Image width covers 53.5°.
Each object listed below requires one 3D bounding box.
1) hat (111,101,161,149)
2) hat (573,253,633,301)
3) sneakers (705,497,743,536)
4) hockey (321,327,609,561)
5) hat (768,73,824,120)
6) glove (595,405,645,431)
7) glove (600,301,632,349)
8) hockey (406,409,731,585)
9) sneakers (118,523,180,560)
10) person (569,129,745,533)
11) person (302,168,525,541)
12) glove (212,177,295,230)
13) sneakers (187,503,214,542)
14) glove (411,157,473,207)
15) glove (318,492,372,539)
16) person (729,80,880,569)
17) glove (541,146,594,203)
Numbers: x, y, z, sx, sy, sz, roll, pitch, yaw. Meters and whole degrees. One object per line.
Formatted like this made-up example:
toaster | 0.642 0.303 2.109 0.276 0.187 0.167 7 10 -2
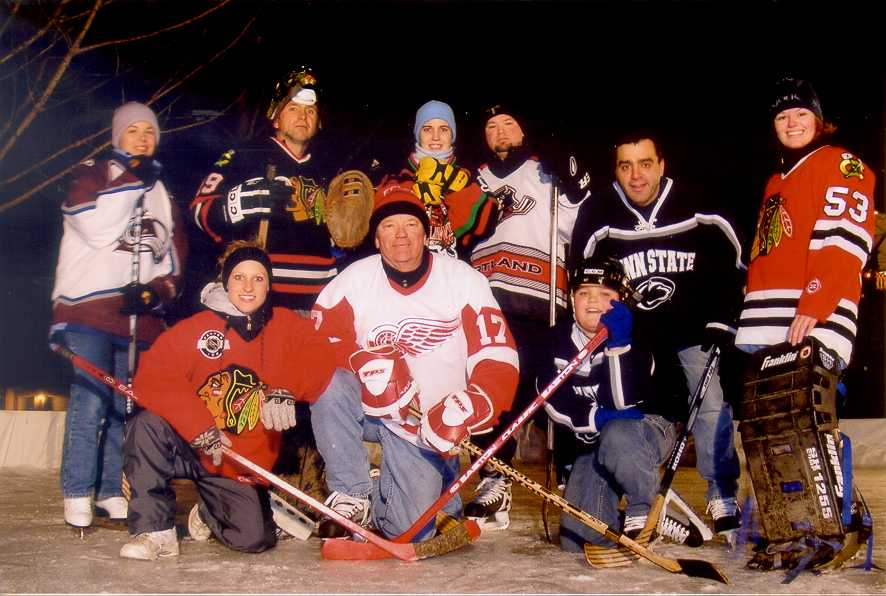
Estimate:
hat | -2.056 -1.161 5.893 0.269 0.306 0.332 -1 17 -14
hat | 0.918 -0.040 5.089 0.241 0.272 0.316 -14 -42 9
sneakers | 1.637 1.278 5.139 0.165 0.195 0.117 -18 -51 20
hockey | 0.089 0.829 5.002 0.169 1.489 0.353 46 6 -31
hat | 2.101 -1.169 5.221 0.259 0.250 0.324 2 3 20
glove | 0.984 0.676 5.007 0.176 0.061 0.174 -7 -32 -2
glove | 0.971 0.155 4.940 0.189 0.246 0.088 -4 2 -6
hockey | 0.702 1.123 4.950 1.586 0.136 0.163 26 13 14
sneakers | -1.581 1.313 4.711 0.288 0.170 0.145 8 -15 -16
person | 1.339 0.263 5.552 1.203 2.584 0.961 -5 10 20
person | -0.260 0.454 5.138 1.372 2.123 1.128 2 5 -9
glove | -1.197 -0.615 5.631 0.443 0.296 0.162 -1 6 -13
sneakers | -1.436 1.326 5.171 0.134 0.213 0.071 -17 1 -7
glove | -0.040 -0.784 5.983 0.367 0.269 0.167 -19 -8 -25
glove | -0.578 1.232 4.971 0.152 0.288 0.449 -23 -29 26
person | 2.029 -0.422 4.961 0.679 1.653 0.585 3 7 29
glove | 0.849 -0.828 5.987 0.393 0.140 0.288 42 6 6
